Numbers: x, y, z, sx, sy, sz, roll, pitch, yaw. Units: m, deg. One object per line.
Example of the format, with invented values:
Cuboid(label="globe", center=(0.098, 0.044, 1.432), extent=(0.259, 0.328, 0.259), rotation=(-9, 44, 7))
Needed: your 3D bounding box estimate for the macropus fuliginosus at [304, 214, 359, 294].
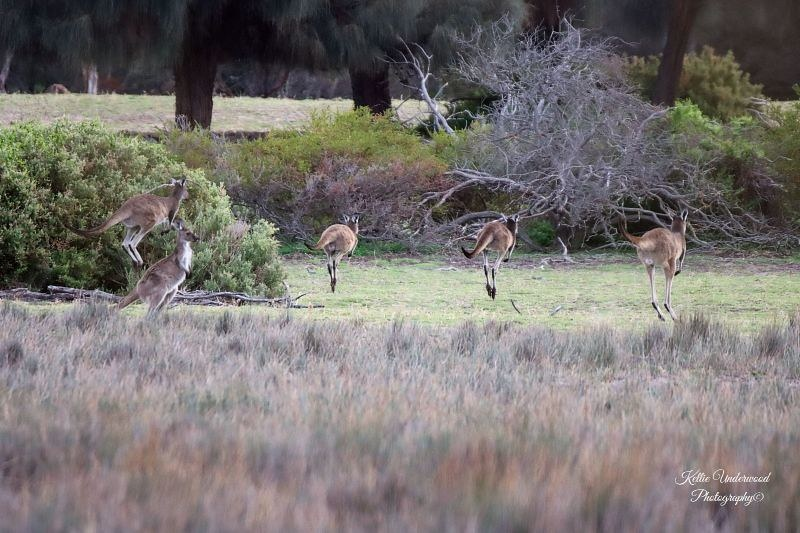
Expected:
Cuboid(label="macropus fuliginosus", center=(-1.145, -0.287, 18.152), extent=(0.427, 1.426, 2.088), rotation=(1, 8, 20))

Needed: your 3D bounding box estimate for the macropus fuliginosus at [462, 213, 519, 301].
Cuboid(label="macropus fuliginosus", center=(1.730, -0.255, 17.669), extent=(0.445, 1.458, 2.295), rotation=(4, 15, 26))

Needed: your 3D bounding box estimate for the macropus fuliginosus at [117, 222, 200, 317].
Cuboid(label="macropus fuliginosus", center=(-3.481, 0.013, 14.379), extent=(0.996, 1.310, 0.548), rotation=(0, 13, -7))
